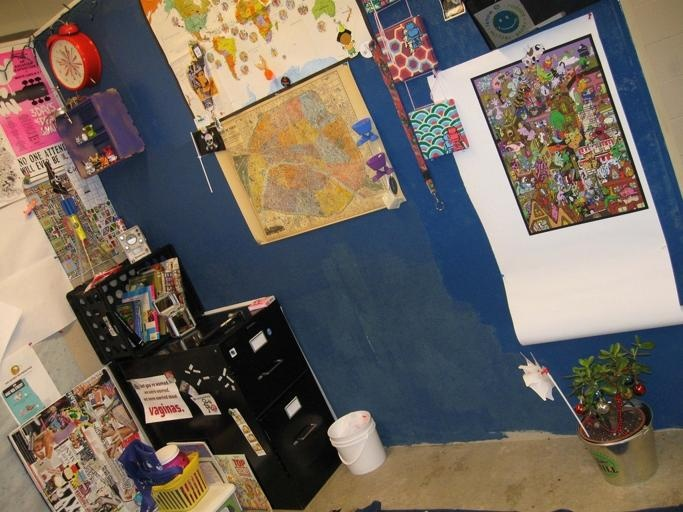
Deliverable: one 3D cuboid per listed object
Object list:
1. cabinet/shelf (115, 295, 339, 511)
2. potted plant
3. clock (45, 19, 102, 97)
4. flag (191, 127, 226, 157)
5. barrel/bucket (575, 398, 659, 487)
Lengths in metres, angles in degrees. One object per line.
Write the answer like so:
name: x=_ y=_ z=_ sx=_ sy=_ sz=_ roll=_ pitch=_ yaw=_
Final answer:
cabinet/shelf: x=-0.723 y=0.957 z=3.344 sx=1.216 sy=1.463 sz=0.813 roll=-20 pitch=1 yaw=22
potted plant: x=1.322 y=0.783 z=2.557 sx=0.354 sy=0.728 sz=0.242 roll=-13 pitch=15 yaw=22
clock: x=-1.733 y=-1.313 z=3.434 sx=0.298 sy=0.359 sz=0.198 roll=-9 pitch=17 yaw=35
flag: x=-0.813 y=-0.715 z=3.275 sx=0.200 sy=0.177 sz=0.011 roll=-2 pitch=31 yaw=32
barrel/bucket: x=1.389 y=0.947 z=2.665 sx=0.361 sy=0.317 sz=0.365 roll=-26 pitch=13 yaw=6
